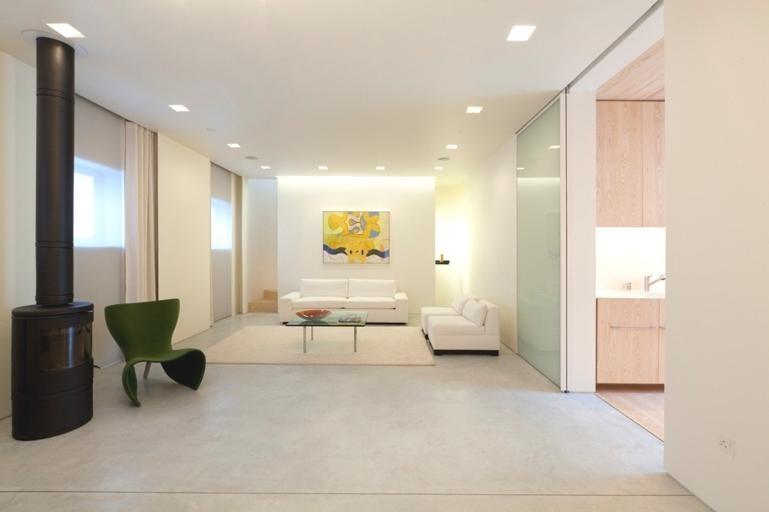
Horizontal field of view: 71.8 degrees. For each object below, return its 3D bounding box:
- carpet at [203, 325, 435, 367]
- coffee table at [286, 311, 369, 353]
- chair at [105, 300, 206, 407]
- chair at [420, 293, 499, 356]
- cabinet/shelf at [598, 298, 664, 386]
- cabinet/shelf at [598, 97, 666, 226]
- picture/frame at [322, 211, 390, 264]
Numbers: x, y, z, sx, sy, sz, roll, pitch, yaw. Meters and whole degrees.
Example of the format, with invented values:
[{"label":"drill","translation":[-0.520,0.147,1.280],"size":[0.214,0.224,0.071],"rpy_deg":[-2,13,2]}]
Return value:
[{"label":"carpet","translation":[-0.900,1.335,8.000],"size":[3.158,0.074,2.048],"rpy_deg":[1,5,0]},{"label":"coffee table","translation":[-0.786,1.016,7.669],"size":[0.798,0.322,0.739],"rpy_deg":[1,0,-4]},{"label":"chair","translation":[-2.678,1.080,6.139],"size":[0.860,0.942,0.889],"rpy_deg":[12,13,41]},{"label":"chair","translation":[1.104,0.989,7.856],"size":[0.896,0.696,1.159],"rpy_deg":[1,5,-5]},{"label":"cabinet/shelf","translation":[2.800,1.013,6.507],"size":[0.964,1.008,0.855],"rpy_deg":[2,-6,12]},{"label":"cabinet/shelf","translation":[3.204,-1.193,6.491],"size":[0.589,1.556,0.934],"rpy_deg":[-7,9,-27]},{"label":"picture/frame","translation":[-0.602,-0.399,10.499],"size":[1.114,0.779,0.040],"rpy_deg":[0,3,-1]}]
